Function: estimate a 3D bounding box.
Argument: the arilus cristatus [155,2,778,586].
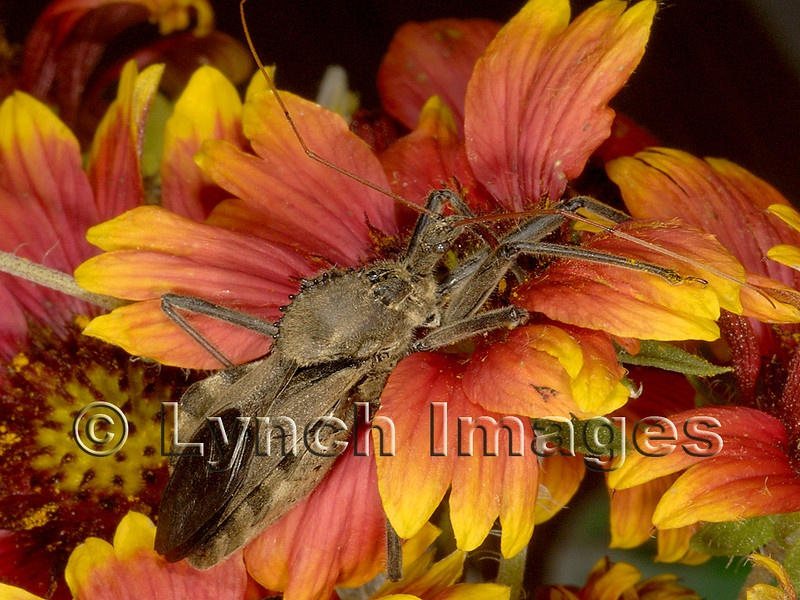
[{"bbox_3d":[0.027,0.011,0.777,0.407,0.113,0.399,2,75,22],"label":"arilus cristatus"}]
